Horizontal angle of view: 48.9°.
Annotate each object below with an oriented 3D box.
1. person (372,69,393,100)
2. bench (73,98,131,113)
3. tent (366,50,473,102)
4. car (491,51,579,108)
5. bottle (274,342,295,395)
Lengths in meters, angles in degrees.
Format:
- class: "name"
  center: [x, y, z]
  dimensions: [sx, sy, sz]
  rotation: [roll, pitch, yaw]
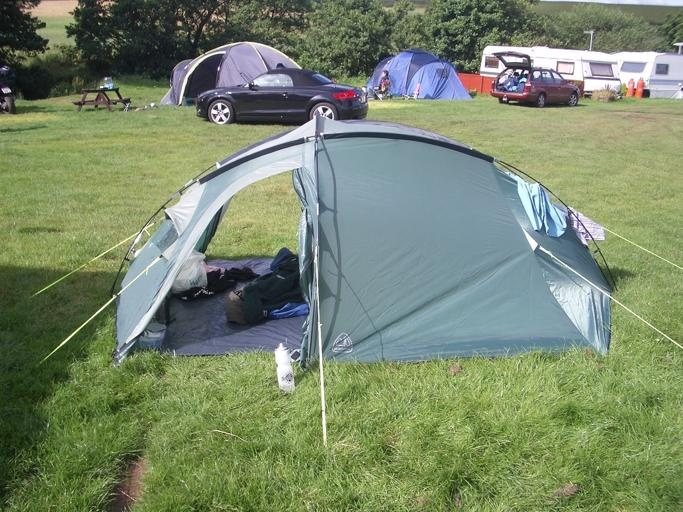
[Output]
- class: "person"
  center: [1.485, -6.160, 26.929]
  dimensions: [0.569, 0.954, 1.888]
  rotation: [1, 15, 5]
- class: "bench"
  center: [-7.319, -4.665, 22.993]
  dimensions: [1.518, 0.329, 2.423]
  rotation: [-5, 16, -21]
- class: "tent"
  center: [2.707, -6.597, 27.432]
  dimensions: [2.564, 1.183, 2.429]
  rotation: [16, 24, 40]
- class: "car"
  center: [6.914, -5.916, 26.333]
  dimensions: [3.041, 1.784, 1.865]
  rotation: [-15, 25, -32]
- class: "bottle"
  center: [-0.643, 1.260, 8.665]
  dimensions: [0.221, 0.491, 0.378]
  rotation: [-1, 14, -5]
